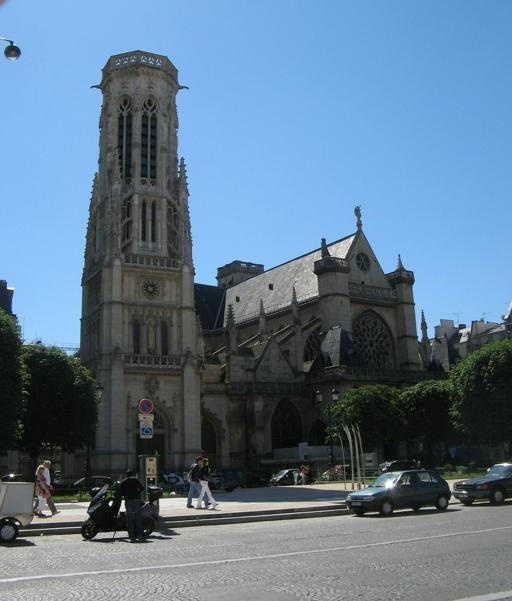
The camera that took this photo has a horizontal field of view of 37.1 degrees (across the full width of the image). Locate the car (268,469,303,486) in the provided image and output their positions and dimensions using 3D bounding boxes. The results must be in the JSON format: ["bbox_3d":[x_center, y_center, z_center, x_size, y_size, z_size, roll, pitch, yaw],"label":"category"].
[{"bbox_3d":[1.624,9.737,42.132,1.742,0.772,0.949,3,-40,-6],"label":"car"}]

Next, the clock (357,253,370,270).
[{"bbox_3d":[9.047,-3.198,63.858,0.355,1.677,1.593,-17,-19,41],"label":"clock"}]

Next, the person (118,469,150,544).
[{"bbox_3d":[-2.586,4.254,15.875,0.502,1.412,0.990,-1,-14,-9],"label":"person"}]

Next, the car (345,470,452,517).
[{"bbox_3d":[3.977,5.534,21.689,2.690,1.001,1.397,8,-29,-23],"label":"car"}]
